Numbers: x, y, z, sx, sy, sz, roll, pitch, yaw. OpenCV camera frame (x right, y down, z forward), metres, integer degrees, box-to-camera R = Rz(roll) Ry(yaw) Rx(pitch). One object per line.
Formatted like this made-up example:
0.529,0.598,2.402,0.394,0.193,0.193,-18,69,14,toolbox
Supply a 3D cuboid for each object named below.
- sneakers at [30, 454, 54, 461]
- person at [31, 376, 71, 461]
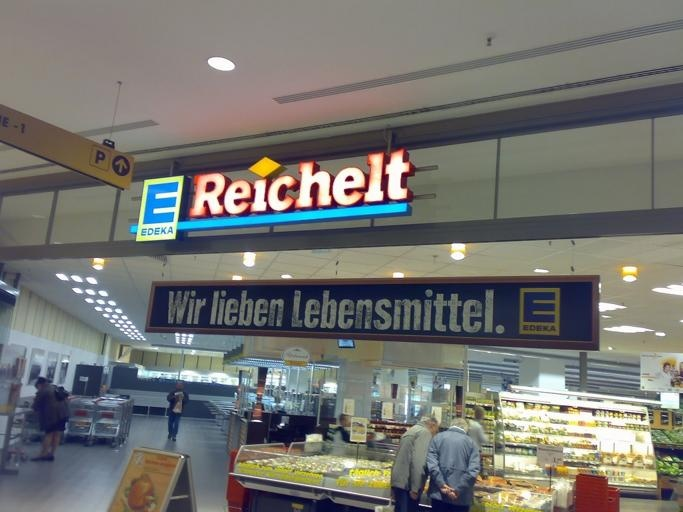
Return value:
-5.917,3.997,10.212,0.397,0.151,0.135,5,-12,-7,sneakers
-6.071,3.310,10.649,0.740,1.613,0.853,13,-21,-26,person
